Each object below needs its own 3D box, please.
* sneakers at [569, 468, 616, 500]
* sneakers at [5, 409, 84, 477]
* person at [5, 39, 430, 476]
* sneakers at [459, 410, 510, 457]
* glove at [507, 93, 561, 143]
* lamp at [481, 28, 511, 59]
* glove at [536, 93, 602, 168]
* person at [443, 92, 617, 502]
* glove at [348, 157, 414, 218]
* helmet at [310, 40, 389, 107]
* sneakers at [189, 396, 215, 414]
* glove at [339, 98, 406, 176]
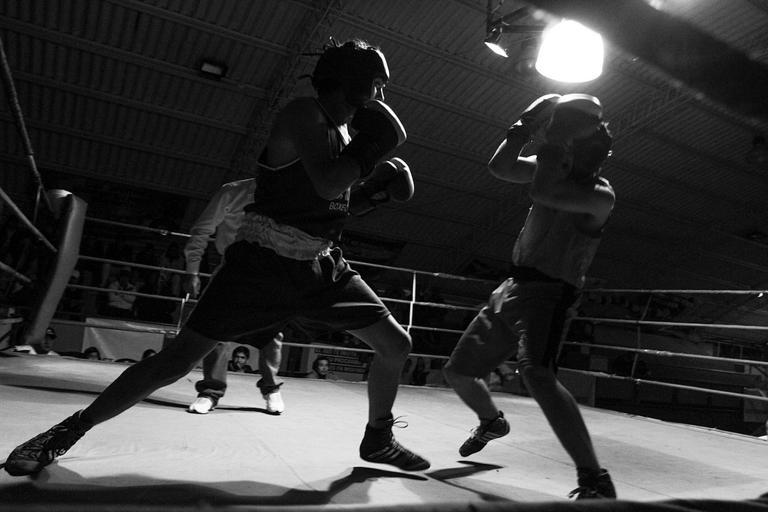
[{"bbox_3d":[0.806,0.862,1.930,0.087,0.116,0.133,-8,3,-36],"label":"sneakers"},{"bbox_3d":[-1.179,0.670,1.869,0.122,0.144,0.366,46,-1,-5],"label":"sneakers"},{"bbox_3d":[-0.416,0.130,1.878,1.443,1.428,0.530,8,-8,-5],"label":"person"},{"bbox_3d":[0.486,0.890,2.468,0.276,0.110,0.104,-35,-31,16],"label":"sneakers"},{"bbox_3d":[0.733,-0.640,2.349,0.340,0.130,0.211,-21,10,-21],"label":"glove"},{"bbox_3d":[1.347,-2.627,6.081,0.242,0.294,0.438,6,-8,14],"label":"lamp"},{"bbox_3d":[0.730,-0.545,2.227,0.332,0.279,0.239,16,-14,16],"label":"glove"},{"bbox_3d":[0.680,0.137,2.237,0.443,1.658,0.676,11,-9,-16],"label":"person"},{"bbox_3d":[-0.014,-0.295,2.129,0.326,0.108,0.191,-26,-44,7],"label":"glove"},{"bbox_3d":[-0.132,-0.704,1.951,0.293,0.218,0.203,-16,8,-5],"label":"helmet"},{"bbox_3d":[-1.058,0.868,2.911,0.090,0.042,0.126,4,-11,2],"label":"sneakers"},{"bbox_3d":[-0.050,-0.430,1.816,0.217,0.313,0.144,12,-9,-23],"label":"glove"}]
